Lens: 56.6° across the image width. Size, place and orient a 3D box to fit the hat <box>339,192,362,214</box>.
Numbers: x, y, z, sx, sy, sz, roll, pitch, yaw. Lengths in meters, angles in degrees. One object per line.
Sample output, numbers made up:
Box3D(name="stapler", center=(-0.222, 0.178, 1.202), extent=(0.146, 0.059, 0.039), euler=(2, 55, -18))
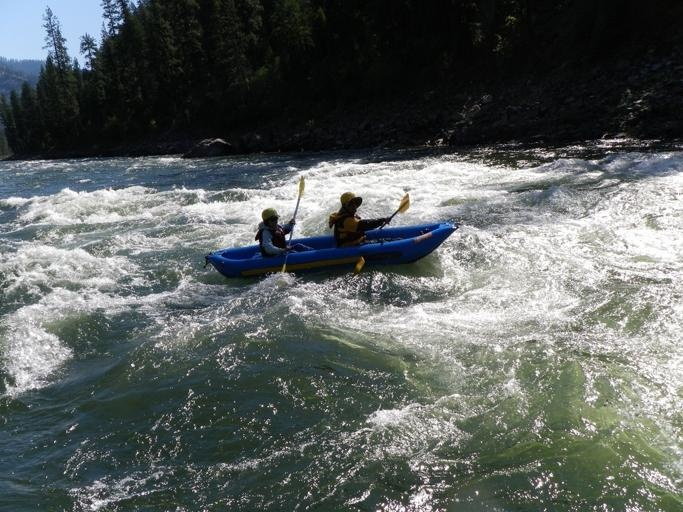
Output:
Box3D(name="hat", center=(0.086, -0.812, 9.567), extent=(0.377, 0.299, 0.251), euler=(-24, 7, 5))

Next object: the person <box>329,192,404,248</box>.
Box3D(name="person", center=(0.429, -0.564, 9.701), extent=(1.358, 0.760, 0.634), euler=(3, 18, -9))

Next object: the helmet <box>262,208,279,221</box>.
Box3D(name="helmet", center=(-1.090, -0.632, 9.612), extent=(0.215, 0.185, 0.157), euler=(-10, 21, -9))

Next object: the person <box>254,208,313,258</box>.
Box3D(name="person", center=(-0.941, -0.359, 10.401), extent=(0.636, 0.813, 0.564), euler=(-20, 36, 13))

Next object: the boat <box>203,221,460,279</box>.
Box3D(name="boat", center=(-0.653, -0.007, 9.706), extent=(4.727, 0.642, 1.189), euler=(-4, 21, 7))
